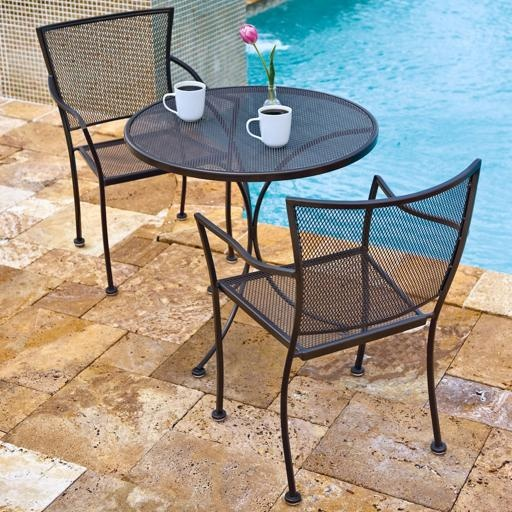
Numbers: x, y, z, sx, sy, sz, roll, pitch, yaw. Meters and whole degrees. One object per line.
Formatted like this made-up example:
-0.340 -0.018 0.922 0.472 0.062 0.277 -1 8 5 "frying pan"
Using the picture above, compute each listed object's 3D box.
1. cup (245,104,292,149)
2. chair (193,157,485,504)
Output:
0.012 -0.408 1.731 0.197 0.114 0.102 -8 44 -6 "cup"
0.214 0.154 1.522 0.643 0.886 0.572 -16 37 -21 "chair"
